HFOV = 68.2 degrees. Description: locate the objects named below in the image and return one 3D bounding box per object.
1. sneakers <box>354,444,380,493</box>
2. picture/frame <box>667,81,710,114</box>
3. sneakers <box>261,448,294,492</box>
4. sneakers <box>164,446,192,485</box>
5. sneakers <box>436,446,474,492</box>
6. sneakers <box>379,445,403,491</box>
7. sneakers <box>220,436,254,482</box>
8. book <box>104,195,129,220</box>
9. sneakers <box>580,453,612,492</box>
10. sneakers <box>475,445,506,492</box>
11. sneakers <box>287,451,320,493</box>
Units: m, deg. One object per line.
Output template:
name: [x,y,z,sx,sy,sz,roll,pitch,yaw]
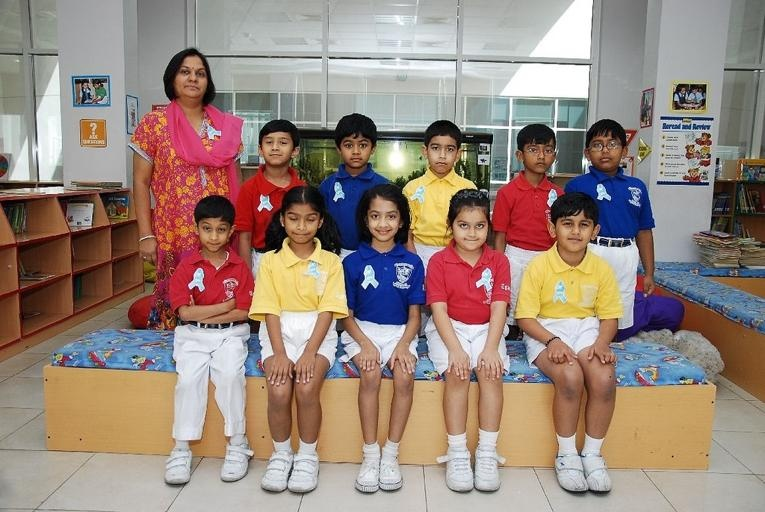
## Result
sneakers: [-0.074,1.092,2.904,0.089,0.117,0.271,1,7,2]
picture/frame: [2.929,-1.513,5.368,0.306,0.267,0.034,1,2,1]
sneakers: [-0.543,1.099,2.977,0.132,0.139,0.350,7,5,-1]
sneakers: [-1.074,1.087,2.991,0.129,0.130,0.309,-1,3,-12]
sneakers: [0.381,1.090,2.989,0.191,0.153,0.362,-6,9,2]
sneakers: [0.038,1.094,2.994,0.120,0.150,0.359,3,2,1]
sneakers: [-0.772,1.062,3.019,0.147,0.164,0.359,2,7,-8]
book: [-2.612,-0.479,5.525,0.256,0.288,0.028,2,-13,-12]
sneakers: [1.115,1.108,2.932,0.165,0.163,0.151,1,12,3]
sneakers: [0.572,1.100,3.005,0.160,0.159,0.396,1,4,9]
sneakers: [-0.405,1.104,2.973,0.139,0.144,0.369,4,6,-2]
